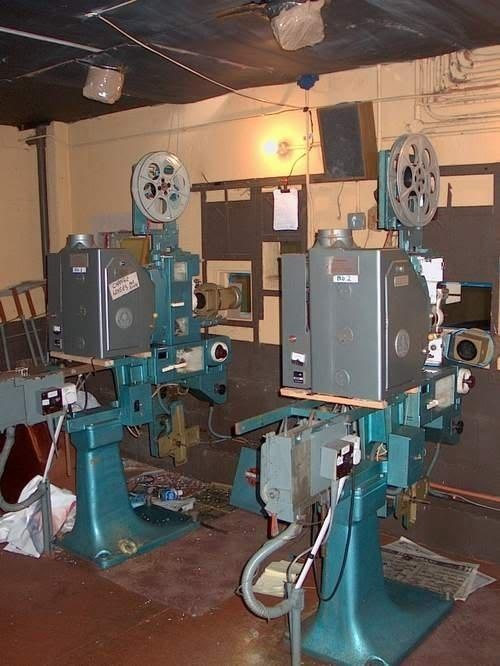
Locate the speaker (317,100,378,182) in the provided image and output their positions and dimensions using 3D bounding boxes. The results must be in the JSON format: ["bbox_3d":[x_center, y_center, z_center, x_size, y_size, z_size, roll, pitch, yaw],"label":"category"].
[{"bbox_3d":[0.600,-1.186,3.505,0.406,0.467,0.162,2,5,40],"label":"speaker"}]
